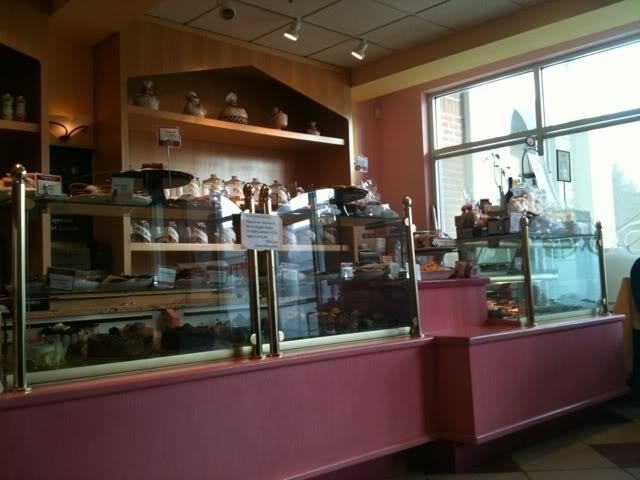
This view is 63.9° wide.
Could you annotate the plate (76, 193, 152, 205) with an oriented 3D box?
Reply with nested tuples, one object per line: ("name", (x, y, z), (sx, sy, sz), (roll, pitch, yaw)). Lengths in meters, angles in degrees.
("plate", (-0.872, -0.167, 2.163), (0.306, 0.049, 0.042), (-4, 1, -24))

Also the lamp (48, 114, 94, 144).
("lamp", (-2.054, -0.912, 4.246), (0.408, 0.229, 0.207), (-5, 2, -45))

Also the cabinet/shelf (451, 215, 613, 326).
("cabinet/shelf", (1.489, 0.238, 3.935), (1.198, 0.686, 1.201), (-2, -3, -7))

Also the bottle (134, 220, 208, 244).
("bottle", (-0.641, -0.034, 2.200), (0.316, 0.106, 0.103), (-4, 1, -22))
